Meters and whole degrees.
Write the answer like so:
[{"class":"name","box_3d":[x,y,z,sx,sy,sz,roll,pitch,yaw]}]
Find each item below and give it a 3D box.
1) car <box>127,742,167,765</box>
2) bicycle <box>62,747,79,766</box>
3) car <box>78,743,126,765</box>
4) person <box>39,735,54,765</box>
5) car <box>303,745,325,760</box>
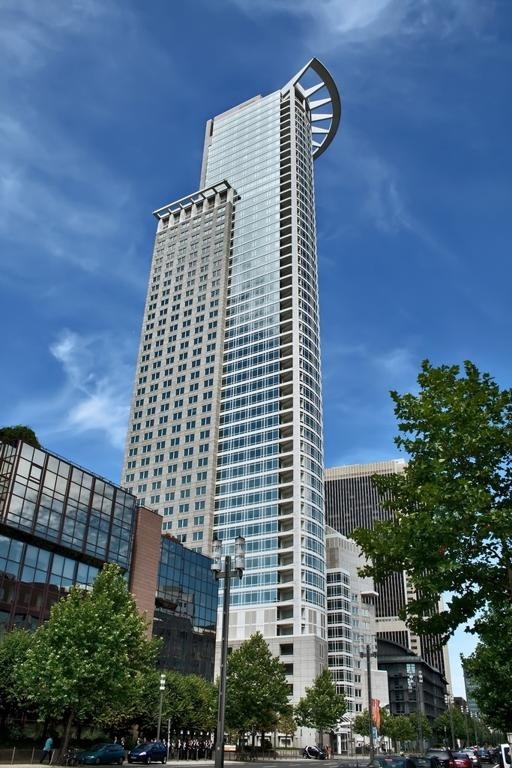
[{"class":"car","box_3d":[-6.852,23.288,39.997,1.394,1.155,2.441,-17,-39,19]},{"class":"bicycle","box_3d":[-9.854,19.887,33.660,0.784,0.582,1.930,9,-27,-10]},{"class":"car","box_3d":[-8.605,20.976,35.492,1.383,1.033,2.386,-19,-33,35]},{"class":"person","box_3d":[-12.123,21.195,36.708,0.608,1.159,2.939,11,-27,-13]},{"class":"car","box_3d":[6.828,43.750,74.953,2.619,1.445,1.692,-4,-20,3]}]
